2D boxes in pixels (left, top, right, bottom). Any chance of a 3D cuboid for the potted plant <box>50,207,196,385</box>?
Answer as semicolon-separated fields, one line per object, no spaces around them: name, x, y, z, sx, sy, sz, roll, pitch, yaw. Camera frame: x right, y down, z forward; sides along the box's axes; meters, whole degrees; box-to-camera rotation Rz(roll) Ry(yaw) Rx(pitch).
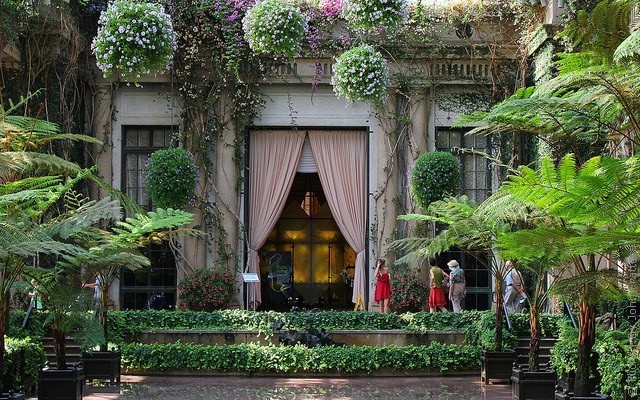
potted plant;-3.634;1.342;19.684;2.622;2.729;2.493;4;11;-14

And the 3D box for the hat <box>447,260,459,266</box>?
hat;2.906;1.458;22.535;0.167;0.081;0.181;7;24;32

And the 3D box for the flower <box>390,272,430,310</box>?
flower;2.011;2.123;23.339;0.811;0.817;0.800;4;-7;-43

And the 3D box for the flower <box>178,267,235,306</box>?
flower;-2.582;2.085;23.243;0.862;0.732;1.003;1;-18;-5

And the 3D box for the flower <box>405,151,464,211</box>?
flower;2.646;-0.380;22.743;1.066;1.378;1.190;0;-14;2
